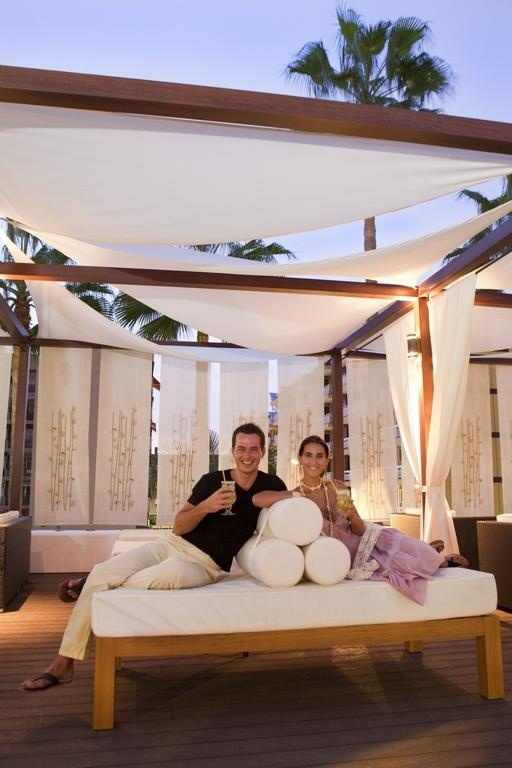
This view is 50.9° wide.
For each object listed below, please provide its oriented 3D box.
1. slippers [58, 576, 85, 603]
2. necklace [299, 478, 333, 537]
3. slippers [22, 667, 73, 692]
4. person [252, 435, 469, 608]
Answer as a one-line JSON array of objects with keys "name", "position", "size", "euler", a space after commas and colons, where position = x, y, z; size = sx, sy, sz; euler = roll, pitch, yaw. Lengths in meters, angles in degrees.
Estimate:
[{"name": "slippers", "position": [-0.900, 1.033, 2.674], "size": [0.069, 0.086, 0.265], "euler": [-5, -8, -3]}, {"name": "necklace", "position": [0.326, 0.676, 2.855], "size": [0.190, 0.256, 0.091], "euler": [-4, -5, 27]}, {"name": "slippers", "position": [-0.959, 1.378, 2.474], "size": [0.202, 0.061, 0.080], "euler": [16, -23, -33]}, {"name": "person", "position": [0.559, 0.679, 2.742], "size": [0.506, 0.520, 0.836], "euler": [-13, 8, -43]}]
